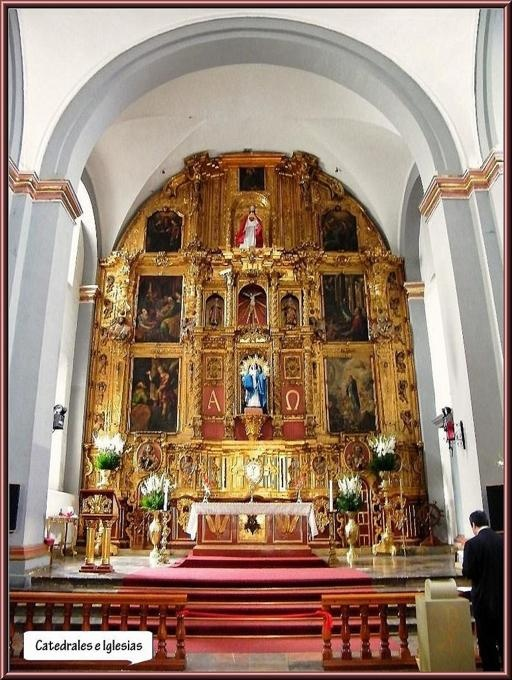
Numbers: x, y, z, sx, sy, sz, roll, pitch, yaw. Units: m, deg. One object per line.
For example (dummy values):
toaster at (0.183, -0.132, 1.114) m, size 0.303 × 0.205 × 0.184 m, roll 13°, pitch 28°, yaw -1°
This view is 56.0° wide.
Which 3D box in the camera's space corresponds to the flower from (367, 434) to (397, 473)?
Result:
flower at (2.821, 2.577, 10.806) m, size 0.593 × 0.922 × 0.550 m, roll 1°, pitch -23°, yaw -4°

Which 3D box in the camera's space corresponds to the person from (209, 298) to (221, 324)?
person at (-1.086, -0.793, 12.940) m, size 0.339 × 0.850 × 0.109 m, roll 0°, pitch -15°, yaw -2°

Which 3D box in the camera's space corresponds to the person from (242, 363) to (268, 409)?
person at (-0.058, 1.216, 12.066) m, size 0.632 × 0.179 × 1.723 m, roll -4°, pitch -48°, yaw -5°

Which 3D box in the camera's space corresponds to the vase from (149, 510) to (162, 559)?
vase at (-1.735, 3.394, 8.321) m, size 0.194 × 0.821 × 0.598 m, roll 3°, pitch -16°, yaw -12°

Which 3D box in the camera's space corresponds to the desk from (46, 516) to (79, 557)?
desk at (-4.009, 4.060, 10.020) m, size 0.554 × 0.794 × 1.653 m, roll 5°, pitch -19°, yaw -18°

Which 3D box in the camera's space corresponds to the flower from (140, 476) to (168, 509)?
flower at (-1.863, 2.786, 8.795) m, size 0.388 × 0.663 × 1.700 m, roll 4°, pitch -19°, yaw -15°

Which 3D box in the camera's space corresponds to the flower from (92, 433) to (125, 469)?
flower at (-3.033, 2.428, 10.382) m, size 0.785 × 0.663 × 0.785 m, roll 9°, pitch -12°, yaw -37°

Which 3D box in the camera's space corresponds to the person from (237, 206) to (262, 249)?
person at (-0.177, -3.052, 13.171) m, size 0.681 × 0.526 × 1.650 m, roll -3°, pitch -26°, yaw -5°

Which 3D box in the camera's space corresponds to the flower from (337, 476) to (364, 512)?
flower at (1.640, 2.726, 8.495) m, size 0.398 × 0.606 × 0.744 m, roll -2°, pitch -17°, yaw 7°

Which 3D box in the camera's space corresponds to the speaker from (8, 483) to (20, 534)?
speaker at (-2.682, 1.865, 5.317) m, size 0.087 × 0.508 × 0.317 m, roll 3°, pitch -16°, yaw -13°
